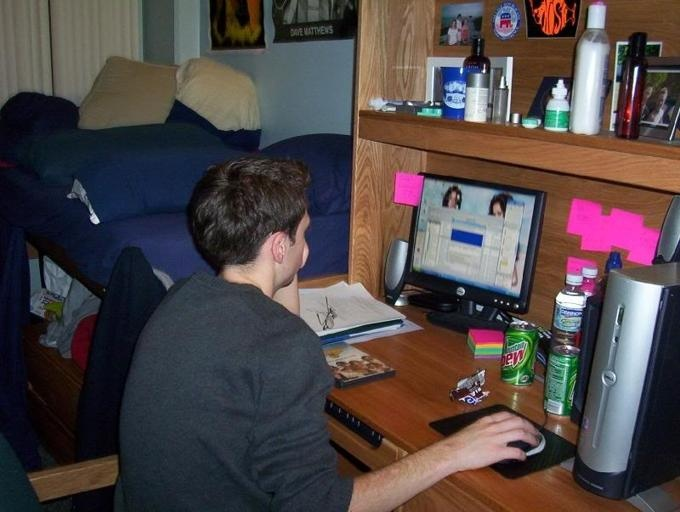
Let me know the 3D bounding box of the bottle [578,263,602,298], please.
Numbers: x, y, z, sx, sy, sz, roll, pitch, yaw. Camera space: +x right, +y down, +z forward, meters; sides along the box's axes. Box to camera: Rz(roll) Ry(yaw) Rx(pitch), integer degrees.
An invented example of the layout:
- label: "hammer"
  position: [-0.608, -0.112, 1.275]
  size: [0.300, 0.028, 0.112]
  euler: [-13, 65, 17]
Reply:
- label: "bottle"
  position: [0.693, 0.073, 1.437]
  size: [0.064, 0.120, 0.069]
  euler: [-3, 10, 0]

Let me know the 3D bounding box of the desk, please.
- label: "desk"
  position: [0.292, 0.400, 1.268]
  size: [0.364, 0.350, 0.706]
  euler: [-21, 31, -28]

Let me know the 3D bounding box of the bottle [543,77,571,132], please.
- label: "bottle"
  position: [0.537, -0.368, 1.278]
  size: [0.057, 0.127, 0.053]
  euler: [-2, 13, 0]

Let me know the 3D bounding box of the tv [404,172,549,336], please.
- label: "tv"
  position: [0.458, 0.000, 1.681]
  size: [0.165, 0.435, 0.443]
  euler: [-7, 17, -43]

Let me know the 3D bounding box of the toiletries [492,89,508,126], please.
- label: "toiletries"
  position: [0.447, -0.415, 1.447]
  size: [0.039, 0.096, 0.070]
  euler: [1, 14, 15]

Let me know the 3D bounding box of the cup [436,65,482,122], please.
- label: "cup"
  position: [0.340, -0.470, 1.516]
  size: [0.139, 0.159, 0.137]
  euler: [1, 20, 0]

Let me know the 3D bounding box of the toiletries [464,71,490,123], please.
- label: "toiletries"
  position: [0.382, -0.440, 1.453]
  size: [0.065, 0.139, 0.068]
  euler: [1, 14, 13]

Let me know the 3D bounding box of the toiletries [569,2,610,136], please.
- label: "toiletries"
  position: [0.594, -0.441, 1.235]
  size: [0.097, 0.302, 0.063]
  euler: [-14, 18, -41]
